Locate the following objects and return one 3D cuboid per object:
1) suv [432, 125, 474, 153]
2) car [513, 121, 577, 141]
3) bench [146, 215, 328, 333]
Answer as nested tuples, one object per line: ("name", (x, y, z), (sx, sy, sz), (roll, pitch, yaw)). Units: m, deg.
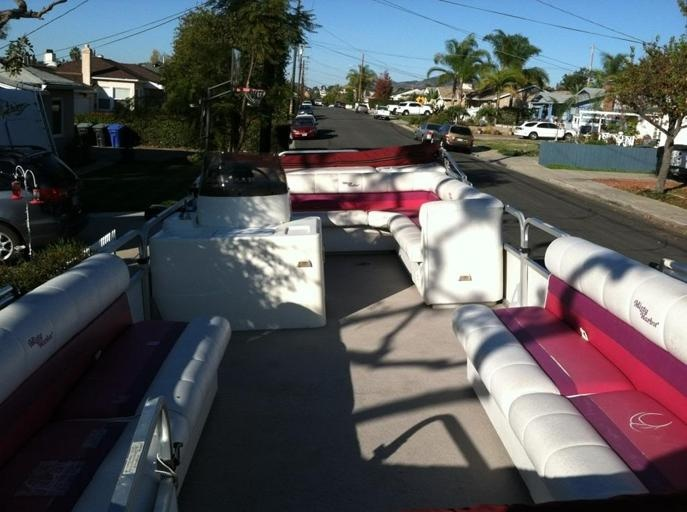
("suv", (7.552, -8.135, 30.451), (2.353, 1.781, 1.844), (12, 22, 25))
("car", (18.410, -11.557, 40.934), (2.397, 1.749, 6.134), (-8, 24, -26))
("bench", (-1.305, 0.026, 5.887), (1.385, 1.074, 1.513), (0, 11, -1))
